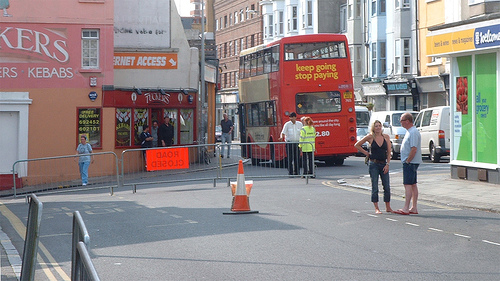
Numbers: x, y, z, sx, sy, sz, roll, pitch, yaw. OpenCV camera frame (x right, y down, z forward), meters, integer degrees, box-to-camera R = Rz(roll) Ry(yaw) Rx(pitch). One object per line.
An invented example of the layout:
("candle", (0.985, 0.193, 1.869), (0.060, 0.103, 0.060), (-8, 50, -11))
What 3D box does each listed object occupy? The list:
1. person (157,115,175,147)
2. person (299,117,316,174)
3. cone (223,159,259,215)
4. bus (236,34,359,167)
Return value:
("person", (-4.581, -0.513, 30.717), (0.758, 1.588, 1.177), (-2, 2, -3))
("person", (2.423, 0.230, 23.783), (0.709, 2.409, 0.607), (-4, 3, -36))
("cone", (-0.282, 1.429, 17.374), (1.010, 1.566, 0.587), (-2, 2, -3))
("bus", (2.347, -1.890, 28.303), (3.579, 4.904, 7.698), (-4, 4, -17))
